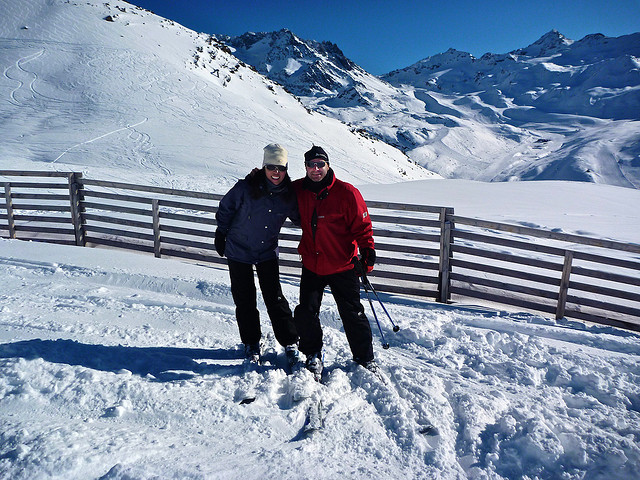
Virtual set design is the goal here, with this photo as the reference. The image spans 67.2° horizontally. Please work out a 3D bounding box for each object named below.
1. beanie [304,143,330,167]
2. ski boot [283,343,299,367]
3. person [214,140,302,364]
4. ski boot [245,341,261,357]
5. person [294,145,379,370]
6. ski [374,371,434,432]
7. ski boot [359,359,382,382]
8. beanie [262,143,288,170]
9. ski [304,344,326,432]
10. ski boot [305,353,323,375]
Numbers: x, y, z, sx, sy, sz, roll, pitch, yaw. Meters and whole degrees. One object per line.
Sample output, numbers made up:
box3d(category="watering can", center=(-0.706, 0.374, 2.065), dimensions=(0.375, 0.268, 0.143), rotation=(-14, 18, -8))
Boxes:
box3d(category="beanie", center=(-0.056, -0.934, 5.154), dimensions=(0.177, 0.152, 0.193), rotation=(-2, 2, 3))
box3d(category="ski boot", center=(-0.319, 1.311, 5.537), dimensions=(0.178, 0.202, 0.277), rotation=(-1, 15, -20))
box3d(category="person", center=(-0.706, 0.162, 5.410), dimensions=(0.918, 2.435, 0.621), rotation=(1, 16, -14))
box3d(category="ski boot", center=(-0.769, 1.248, 5.505), dimensions=(0.149, 0.139, 0.148), rotation=(0, -23, -9))
box3d(category="person", center=(0.184, 0.212, 5.382), dimensions=(1.176, 2.404, 0.566), rotation=(7, 16, 7))
box3d(category="ski", center=(0.901, 1.493, 5.581), dimensions=(0.280, 0.169, 1.823), rotation=(2, 21, -6))
box3d(category="ski boot", center=(0.579, 1.454, 5.453), dimensions=(0.149, 0.071, 0.181), rotation=(-25, 72, -34))
box3d(category="beanie", center=(-0.496, -0.905, 5.256), dimensions=(0.258, 0.268, 0.278), rotation=(3, 15, -8))
box3d(category="ski", center=(-0.041, 1.668, 4.989), dimensions=(0.075, 0.097, 0.594), rotation=(31, 42, -20))
box3d(category="ski boot", center=(-0.062, 1.370, 5.363), dimensions=(0.185, 0.216, 0.222), rotation=(-13, 31, -7))
